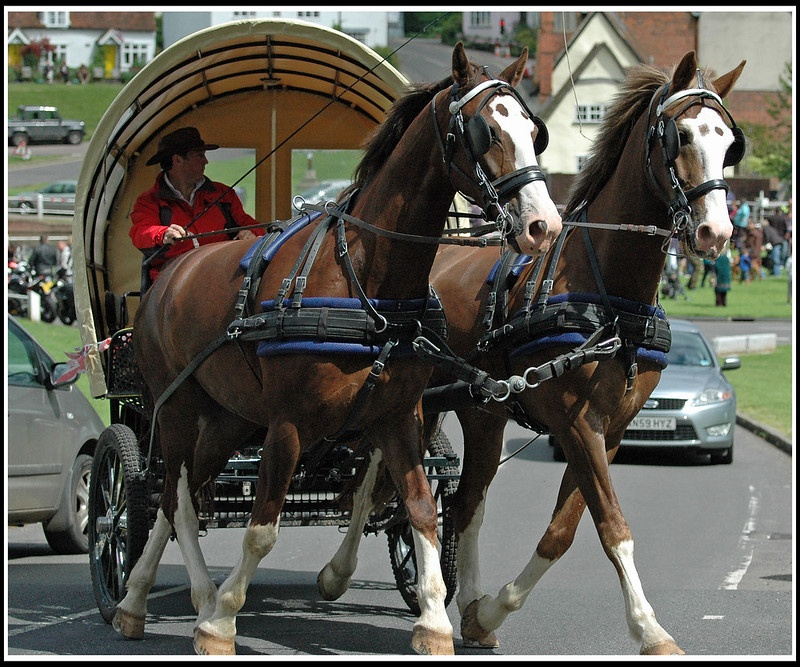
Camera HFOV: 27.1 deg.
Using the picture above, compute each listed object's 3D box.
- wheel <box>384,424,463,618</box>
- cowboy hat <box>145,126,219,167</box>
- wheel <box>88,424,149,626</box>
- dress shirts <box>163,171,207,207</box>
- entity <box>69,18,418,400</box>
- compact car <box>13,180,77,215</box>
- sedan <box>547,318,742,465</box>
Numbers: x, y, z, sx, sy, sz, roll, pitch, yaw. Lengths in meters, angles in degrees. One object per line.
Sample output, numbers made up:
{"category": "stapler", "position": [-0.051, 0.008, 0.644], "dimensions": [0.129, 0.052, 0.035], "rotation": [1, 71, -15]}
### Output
{"category": "wheel", "position": [0.116, 1.492, 12.925], "dimensions": [0.252, 1.250, 1.241], "rotation": [11, -21, -7]}
{"category": "cowboy hat", "position": [-1.756, -1.455, 13.048], "dimensions": [0.375, 0.139, 0.325], "rotation": [-24, 5, 18]}
{"category": "wheel", "position": [-2.111, 1.478, 12.460], "dimensions": [0.280, 1.094, 1.013], "rotation": [0, -34, -18]}
{"category": "dress shirts", "position": [-1.722, -1.154, 13.123], "dimensions": [0.224, 0.301, 0.103], "rotation": [-3, 1, -15]}
{"category": "entity", "position": [-1.289, -0.897, 13.686], "dimensions": [2.673, 2.786, 2.130], "rotation": [11, -9, -4]}
{"category": "compact car", "position": [-10.262, -3.904, 47.781], "dimensions": [1.690, 0.880, 2.456], "rotation": [1, 4, 3]}
{"category": "sedan", "position": [3.212, 0.690, 18.734], "dimensions": [1.378, 1.083, 2.236], "rotation": [0, -10, 10]}
